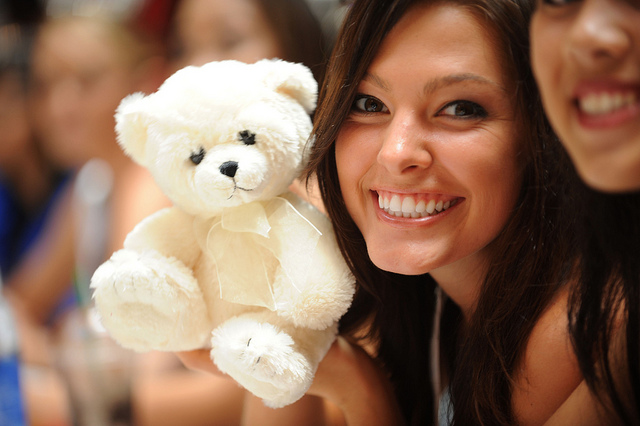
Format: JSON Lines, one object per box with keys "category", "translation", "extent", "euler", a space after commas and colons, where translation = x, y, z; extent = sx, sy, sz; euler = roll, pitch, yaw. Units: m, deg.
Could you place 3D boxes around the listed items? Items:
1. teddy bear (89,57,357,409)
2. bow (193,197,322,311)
{"category": "teddy bear", "translation": [-0.190, 0.003, 2.142], "extent": [0.769, 1.025, 0.797], "euler": [-4, 19, 5]}
{"category": "bow", "translation": [-0.167, 0.090, 1.982], "extent": [0.274, 0.107, 0.295], "euler": [-6, 92, -7]}
